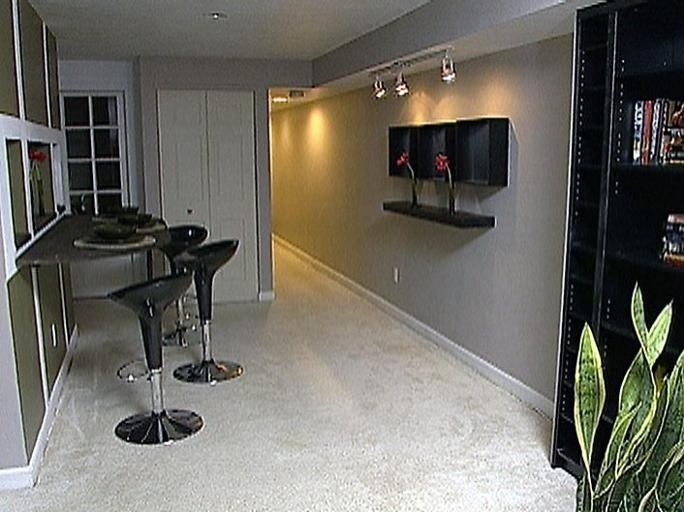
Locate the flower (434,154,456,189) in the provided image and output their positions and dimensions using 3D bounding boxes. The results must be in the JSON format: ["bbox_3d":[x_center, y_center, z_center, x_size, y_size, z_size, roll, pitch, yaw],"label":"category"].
[{"bbox_3d":[0.913,-0.756,4.382,0.105,0.305,0.140,-9,42,25],"label":"flower"}]

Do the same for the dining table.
[{"bbox_3d":[-1.746,-0.121,3.514,0.790,0.340,1.696,-7,14,-21],"label":"dining table"}]

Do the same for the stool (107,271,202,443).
[{"bbox_3d":[-1.263,0.651,3.273,0.586,1.074,0.446,-6,13,-22],"label":"stool"}]

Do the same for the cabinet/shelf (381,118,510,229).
[{"bbox_3d":[0.839,-0.746,4.429,0.322,0.881,1.636,-6,14,-21],"label":"cabinet/shelf"}]

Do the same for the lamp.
[{"bbox_3d":[0.654,-1.631,4.468,0.655,0.289,0.181,-31,44,-23],"label":"lamp"}]
